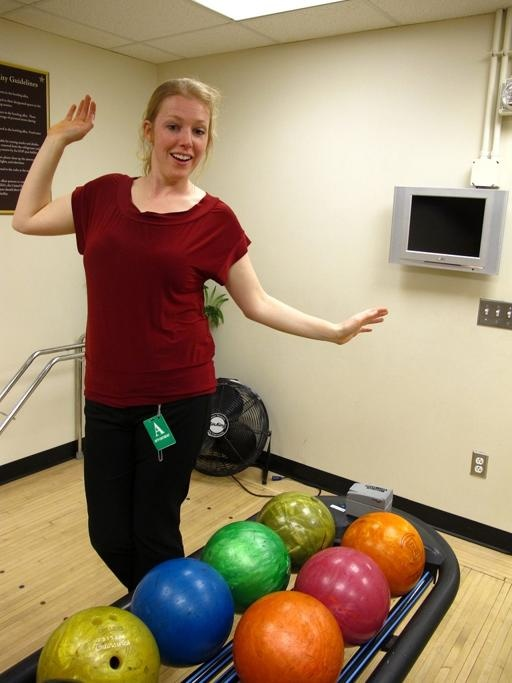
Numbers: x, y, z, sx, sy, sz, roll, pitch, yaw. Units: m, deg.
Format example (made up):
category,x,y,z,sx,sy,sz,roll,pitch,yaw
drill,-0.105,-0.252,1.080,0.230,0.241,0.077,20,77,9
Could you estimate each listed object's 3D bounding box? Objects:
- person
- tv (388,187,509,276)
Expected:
category,x,y,z,sx,sy,sz,roll,pitch,yaw
person,-0.266,0.017,1.292,0.801,1.325,0.409,5,10,15
tv,0.925,-0.527,2.303,0.442,0.305,0.059,13,20,34
